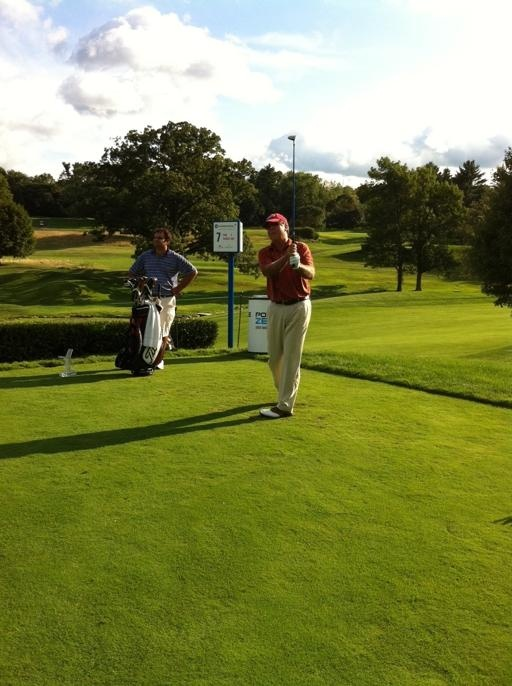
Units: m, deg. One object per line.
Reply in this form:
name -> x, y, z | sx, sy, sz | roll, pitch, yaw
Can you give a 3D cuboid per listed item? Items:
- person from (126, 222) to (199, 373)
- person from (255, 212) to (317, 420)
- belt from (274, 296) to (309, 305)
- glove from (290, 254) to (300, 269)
person -> -1.410, -0.649, 8.185 | 0.967, 2.075, 1.040 | 2, 6, -7
person -> 0.302, -0.351, 5.930 | 0.609, 2.153, 1.040 | 3, 6, 3
belt -> 0.365, -0.446, 5.904 | 0.380, 0.086, 0.166 | 3, 6, 2
glove -> 0.386, -0.813, 5.402 | 0.093, 0.146, 0.091 | 3, 6, 2
